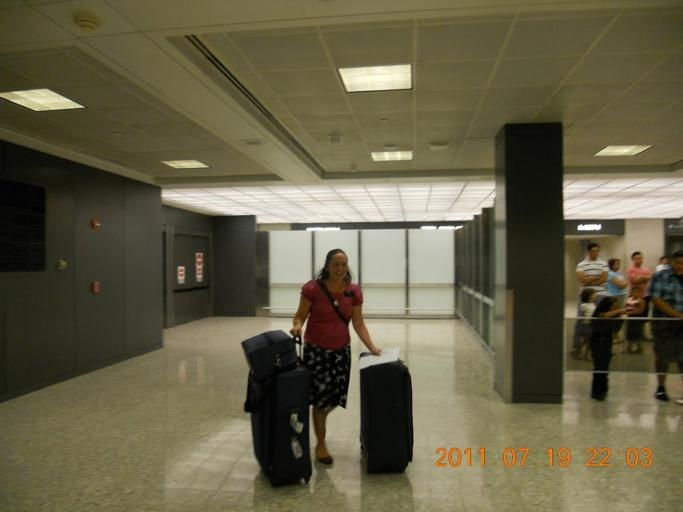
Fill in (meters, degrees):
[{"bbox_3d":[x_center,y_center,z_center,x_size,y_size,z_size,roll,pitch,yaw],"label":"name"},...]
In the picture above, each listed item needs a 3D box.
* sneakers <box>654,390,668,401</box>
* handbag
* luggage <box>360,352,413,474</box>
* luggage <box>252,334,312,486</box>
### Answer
[{"bbox_3d":[4.366,1.926,6.492,0.129,0.170,0.095,-10,-2,4],"label":"sneakers"},{"bbox_3d":[-0.699,1.101,4.810,0.776,0.769,0.575,-5,4,-19],"label":"handbag"},{"bbox_3d":[0.444,1.620,4.818,0.518,1.157,0.478,-1,3,1],"label":"luggage"},{"bbox_3d":[-0.639,1.512,4.649,0.657,1.439,0.394,-1,3,2],"label":"luggage"}]
